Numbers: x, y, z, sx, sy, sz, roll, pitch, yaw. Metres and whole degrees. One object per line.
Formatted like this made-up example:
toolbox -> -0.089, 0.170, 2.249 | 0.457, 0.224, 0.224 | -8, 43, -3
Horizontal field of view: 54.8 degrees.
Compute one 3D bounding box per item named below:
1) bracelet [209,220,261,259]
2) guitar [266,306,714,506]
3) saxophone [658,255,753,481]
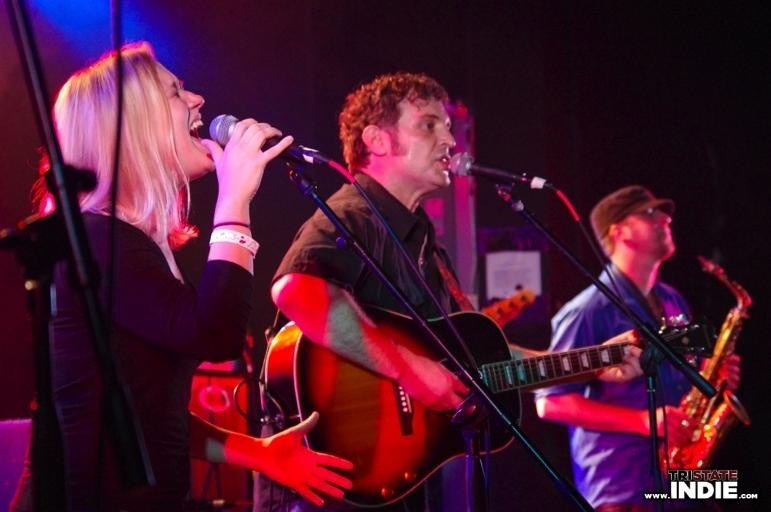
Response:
bracelet -> -0.655, -0.055, 3.315 | 0.161, 0.058, 0.167 | -3, -14, 38
guitar -> 0.563, 0.691, 3.953 | 2.258, 1.036, 0.324 | -9, 6, -19
saxophone -> 2.319, 0.956, 5.272 | 0.556, 0.361, 1.381 | -6, -63, -7
